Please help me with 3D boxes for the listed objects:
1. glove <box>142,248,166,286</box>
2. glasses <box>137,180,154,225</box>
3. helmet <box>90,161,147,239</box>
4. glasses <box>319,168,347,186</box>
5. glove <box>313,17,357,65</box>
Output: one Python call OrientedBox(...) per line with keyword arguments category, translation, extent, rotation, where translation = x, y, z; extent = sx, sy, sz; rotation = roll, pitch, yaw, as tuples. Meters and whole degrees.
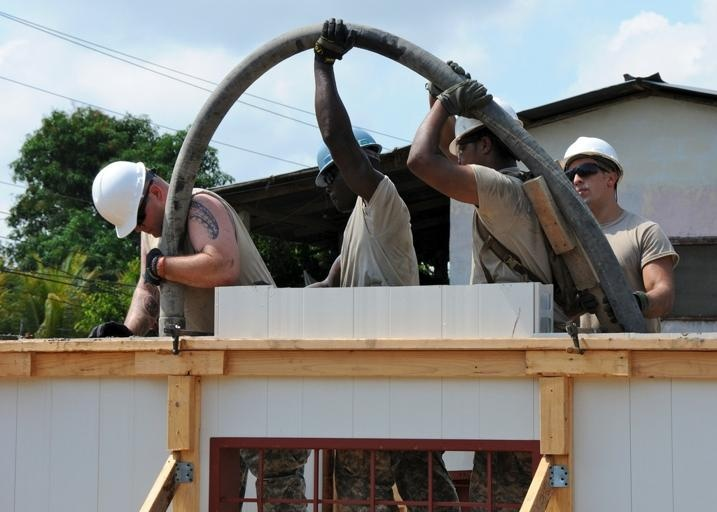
OrientedBox(category="glove", translation=(-1.814, 0.110, 12.381), extent=(0.151, 0.221, 0.283), rotation=(4, -16, -11))
OrientedBox(category="glasses", translation=(-1.970, -0.503, 12.834), extent=(0.074, 0.339, 0.199), rotation=(8, -8, -25))
OrientedBox(category="helmet", translation=(-2.182, -0.540, 12.880), extent=(0.381, 0.701, 0.493), rotation=(22, -26, -39))
OrientedBox(category="glasses", translation=(-0.257, -0.676, 12.797), extent=(0.185, 0.195, 0.137), rotation=(-18, -11, 15))
OrientedBox(category="glove", translation=(-0.208, -1.868, 12.124), extent=(0.362, 0.344, 0.229), rotation=(-13, -16, 38))
